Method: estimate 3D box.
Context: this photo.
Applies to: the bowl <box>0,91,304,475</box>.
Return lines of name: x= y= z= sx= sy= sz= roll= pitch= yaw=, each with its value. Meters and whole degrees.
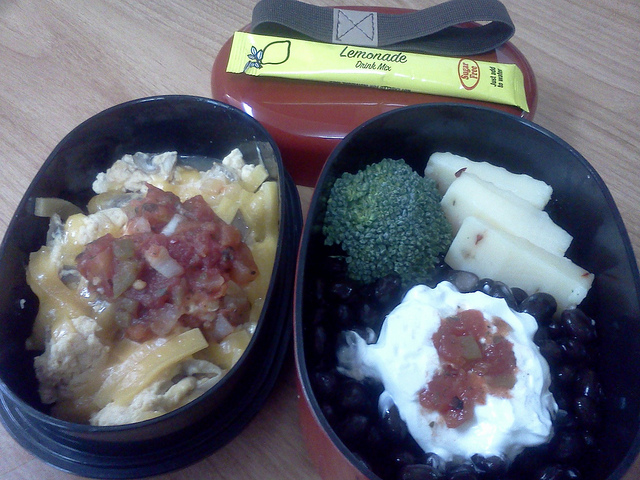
bowl: x=-0.520 y=0.095 z=1.853 sx=0.899 sy=0.319 sz=1.099 roll=4 pitch=70 yaw=2
